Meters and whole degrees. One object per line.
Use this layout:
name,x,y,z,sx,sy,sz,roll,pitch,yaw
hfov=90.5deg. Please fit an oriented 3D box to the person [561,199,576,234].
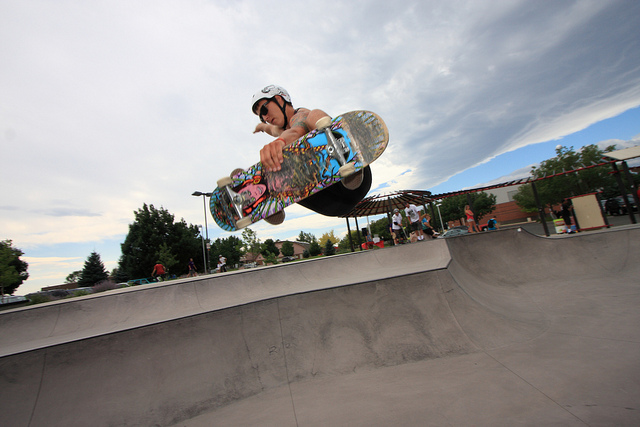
person,9.184,0.039,11.769,0.337,1.223,0.925,0,8,36

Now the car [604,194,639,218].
car,15.267,-0.361,16.128,0.852,0.746,1.550,-18,9,26

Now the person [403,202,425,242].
person,3.750,0.334,12.603,0.644,1.500,1.755,-2,6,16

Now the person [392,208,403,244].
person,3.198,0.555,13.139,0.322,1.415,0.937,-3,6,13

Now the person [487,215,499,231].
person,11.065,0.504,20.397,0.581,0.779,0.972,-7,7,30

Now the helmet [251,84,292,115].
helmet,-0.608,-1.553,4.323,0.456,0.368,0.346,9,-25,-22

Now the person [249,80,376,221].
person,-0.277,-0.527,3.703,2.233,0.606,0.328,-20,1,39
